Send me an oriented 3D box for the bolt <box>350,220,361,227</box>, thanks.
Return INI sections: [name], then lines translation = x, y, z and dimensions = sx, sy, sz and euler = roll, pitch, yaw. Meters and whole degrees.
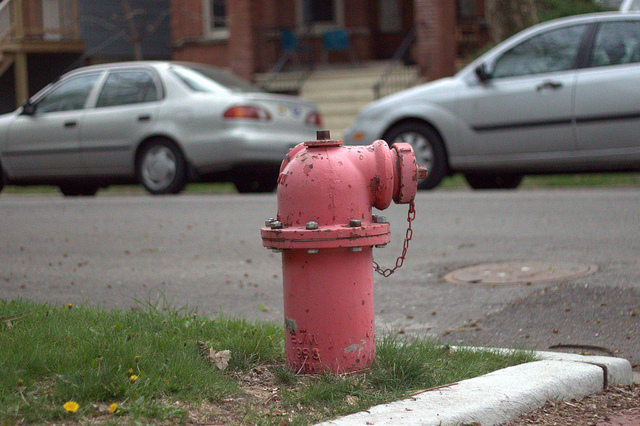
[bolt]
translation = 0.434, 0.137, 18.225
dimensions = 0.103, 0.079, 0.079
euler = 3, 5, 3
